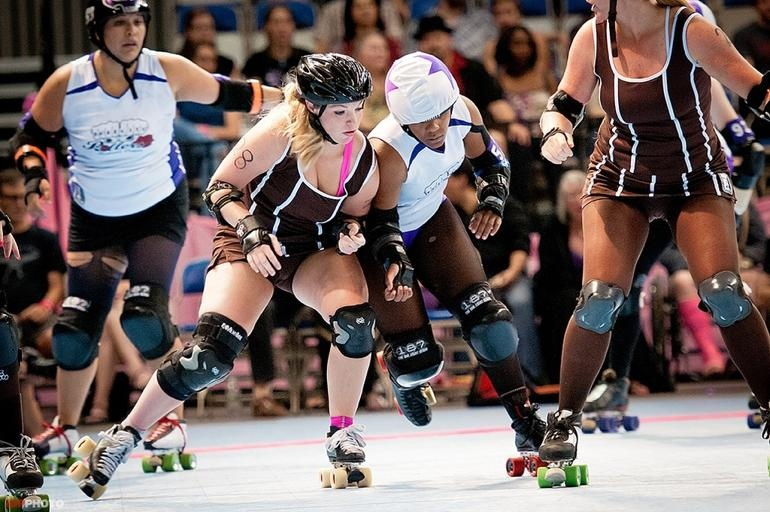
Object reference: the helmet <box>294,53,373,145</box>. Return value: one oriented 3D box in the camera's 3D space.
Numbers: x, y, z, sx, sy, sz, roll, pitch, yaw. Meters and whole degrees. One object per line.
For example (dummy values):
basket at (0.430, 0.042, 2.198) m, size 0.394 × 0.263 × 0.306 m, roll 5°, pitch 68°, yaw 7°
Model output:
helmet at (-0.284, -0.831, 4.825) m, size 0.441 × 0.454 × 0.379 m, roll 2°, pitch 22°, yaw 38°

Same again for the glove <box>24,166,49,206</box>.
glove at (-2.006, -0.407, 5.322) m, size 0.148 × 0.206 × 0.206 m, roll 0°, pitch -2°, yaw -17°

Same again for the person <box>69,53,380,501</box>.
person at (-0.681, 0.070, 4.895) m, size 1.319 × 2.293 × 0.501 m, roll -2°, pitch -1°, yaw 5°

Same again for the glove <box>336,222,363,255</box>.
glove at (-0.195, -0.093, 4.820) m, size 0.077 × 0.105 × 0.128 m, roll 20°, pitch 17°, yaw -18°
